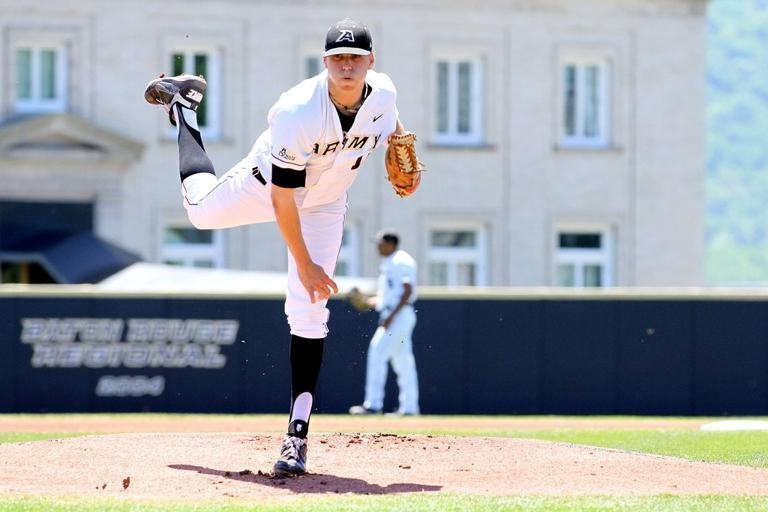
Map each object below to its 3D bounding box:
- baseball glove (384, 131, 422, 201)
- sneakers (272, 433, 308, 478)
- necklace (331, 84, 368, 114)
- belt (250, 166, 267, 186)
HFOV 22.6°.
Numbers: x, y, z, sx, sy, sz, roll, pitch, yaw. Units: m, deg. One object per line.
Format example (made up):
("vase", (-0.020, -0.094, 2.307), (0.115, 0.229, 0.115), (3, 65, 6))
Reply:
("baseball glove", (0.163, -0.663, 14.306), (0.295, 0.433, 0.178), (4, 12, 6))
("sneakers", (-0.626, 1.450, 13.841), (0.169, 0.240, 0.350), (1, -1, 40))
("necklace", (-0.193, -1.109, 13.714), (0.221, 0.222, 0.082), (3, 6, -18))
("belt", (-0.912, -0.566, 13.993), (0.048, 0.130, 0.093), (-44, 2, -13))
